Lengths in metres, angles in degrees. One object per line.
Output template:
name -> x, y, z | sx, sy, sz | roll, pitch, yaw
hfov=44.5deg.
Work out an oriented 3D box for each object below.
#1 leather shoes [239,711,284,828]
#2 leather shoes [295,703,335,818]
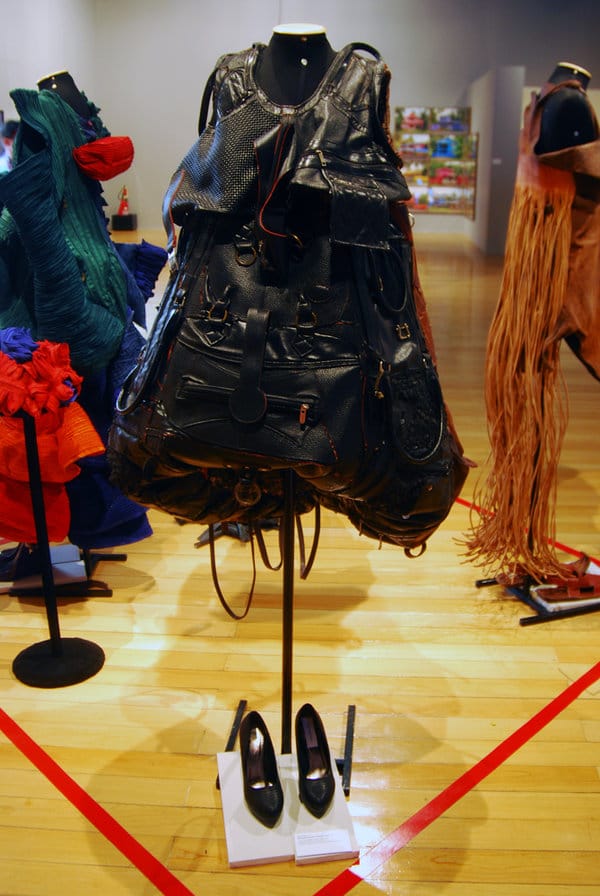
leather shoes -> -0.076, 0.604, 1.375 | 0.062, 0.071, 0.182 | 0, 26, -13
leather shoes -> 0.029, 0.593, 1.404 | 0.055, 0.044, 0.155 | -1, 36, -7
